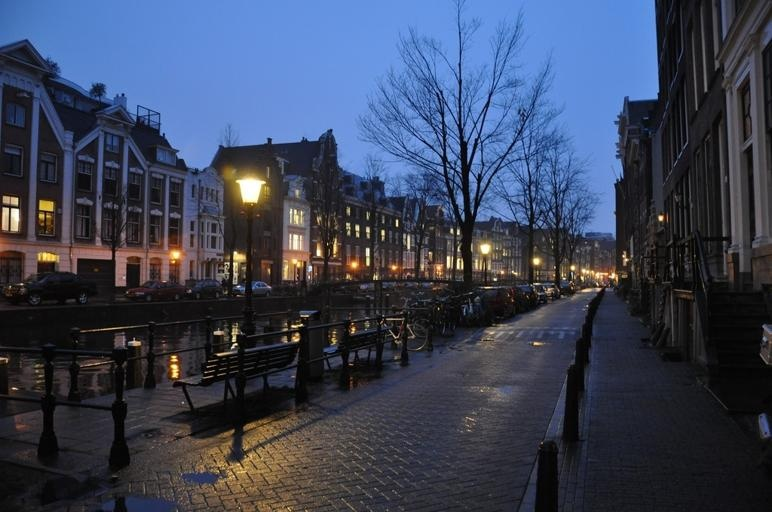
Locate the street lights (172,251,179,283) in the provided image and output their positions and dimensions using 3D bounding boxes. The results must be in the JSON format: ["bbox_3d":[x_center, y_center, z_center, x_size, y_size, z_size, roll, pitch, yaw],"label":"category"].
[{"bbox_3d":[-17.354,1.144,56.995,0.201,1.899,0.941,-4,-5,21],"label":"street lights"}]

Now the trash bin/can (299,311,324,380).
[{"bbox_3d":[-1.873,2.136,17.188,0.421,1.366,0.600,-11,7,-30],"label":"trash bin/can"}]

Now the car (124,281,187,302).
[{"bbox_3d":[-14.588,2.279,44.424,1.411,1.371,4.503,-4,-6,19],"label":"car"}]

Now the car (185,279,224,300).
[{"bbox_3d":[-12.921,2.357,49.179,1.321,1.494,4.485,-3,-6,10],"label":"car"}]
